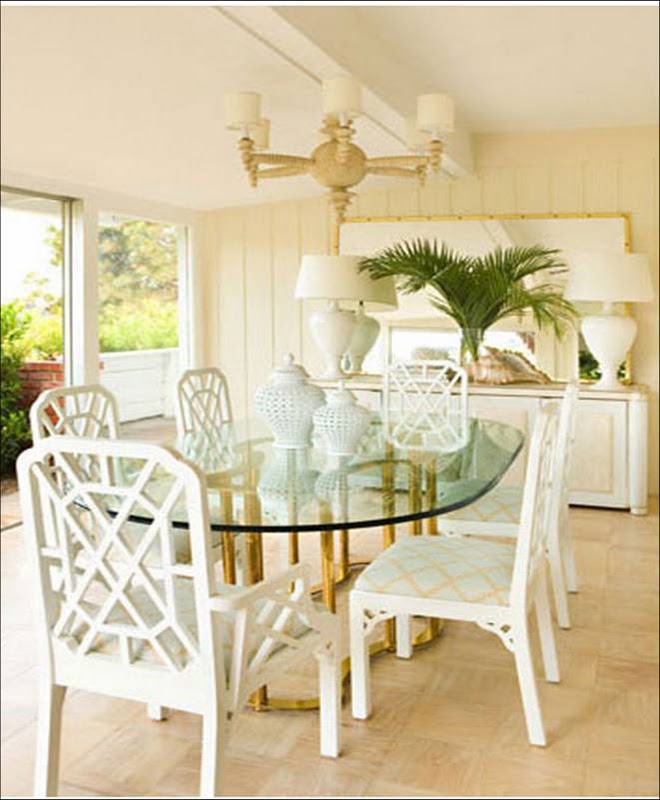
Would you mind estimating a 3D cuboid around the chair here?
[{"bbox_3d":[0.000,0.283,1.908,0.670,0.878,1.437,2,8,27],"label":"chair"}]

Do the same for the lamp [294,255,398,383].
[{"bbox_3d":[0.002,-0.428,3.997,0.636,0.603,0.610,4,-8,-20],"label":"lamp"}]

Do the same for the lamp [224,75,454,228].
[{"bbox_3d":[0.041,-0.833,2.569,0.783,0.421,0.846,0,9,3],"label":"lamp"}]

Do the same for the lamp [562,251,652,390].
[{"bbox_3d":[1.658,-0.489,4.245,0.456,0.830,0.706,2,6,22],"label":"lamp"}]

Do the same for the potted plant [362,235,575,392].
[{"bbox_3d":[0.977,-0.577,4.912,1.193,0.654,1.183,-2,0,-20],"label":"potted plant"}]
